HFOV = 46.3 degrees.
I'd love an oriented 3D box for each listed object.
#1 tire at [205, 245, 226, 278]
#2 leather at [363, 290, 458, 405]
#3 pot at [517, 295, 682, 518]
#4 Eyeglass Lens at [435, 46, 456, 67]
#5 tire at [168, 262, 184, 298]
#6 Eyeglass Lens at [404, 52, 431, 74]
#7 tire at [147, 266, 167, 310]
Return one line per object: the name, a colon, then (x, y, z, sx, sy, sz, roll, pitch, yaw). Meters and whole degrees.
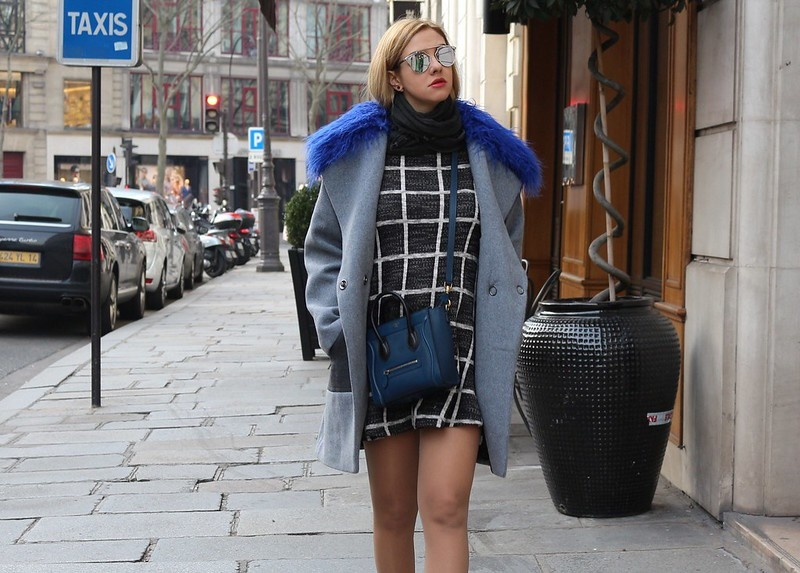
tire: (-4.414, -0.625, 22.323, 0.519, 0.720, 0.658, 1, -4, 5)
leather: (0.048, 0.242, 3.634, 0.297, 0.377, 0.158, -19, -9, 20)
pot: (1.076, 0.649, 5.412, 0.971, 1.300, 1.057, -1, -2, 0)
Eyeglass Lens: (0.184, -0.935, 3.755, 0.076, 0.040, 0.084, -5, 33, -9)
tire: (-4.010, -0.131, 16.720, 0.172, 0.638, 0.580, 1, -2, 13)
Eyeglass Lens: (0.073, -0.908, 3.744, 0.080, 0.039, 0.088, 1, 0, -7)
tire: (-3.931, 0.006, 15.094, 0.183, 0.667, 0.609, 2, -5, 8)
